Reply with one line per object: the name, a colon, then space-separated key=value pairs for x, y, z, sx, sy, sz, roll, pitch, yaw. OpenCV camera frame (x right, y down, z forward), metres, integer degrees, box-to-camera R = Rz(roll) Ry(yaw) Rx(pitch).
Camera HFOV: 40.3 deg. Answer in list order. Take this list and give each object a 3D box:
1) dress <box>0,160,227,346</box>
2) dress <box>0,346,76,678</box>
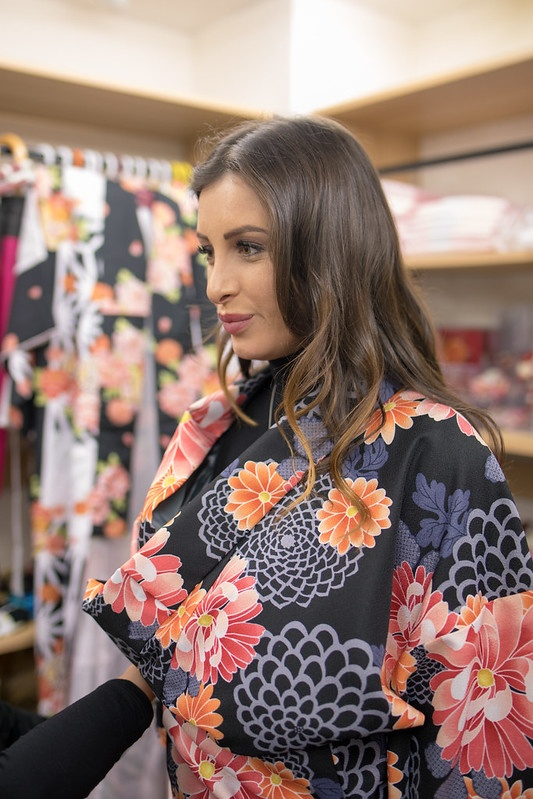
dress: x=-0.301 y=-0.274 z=1.435 sx=0.430 sy=0.397 sz=0.118 roll=0 pitch=3 yaw=-38
dress: x=-0.426 y=0.216 z=1.421 sx=0.125 sy=0.648 sz=0.057 roll=-1 pitch=5 yaw=-16
